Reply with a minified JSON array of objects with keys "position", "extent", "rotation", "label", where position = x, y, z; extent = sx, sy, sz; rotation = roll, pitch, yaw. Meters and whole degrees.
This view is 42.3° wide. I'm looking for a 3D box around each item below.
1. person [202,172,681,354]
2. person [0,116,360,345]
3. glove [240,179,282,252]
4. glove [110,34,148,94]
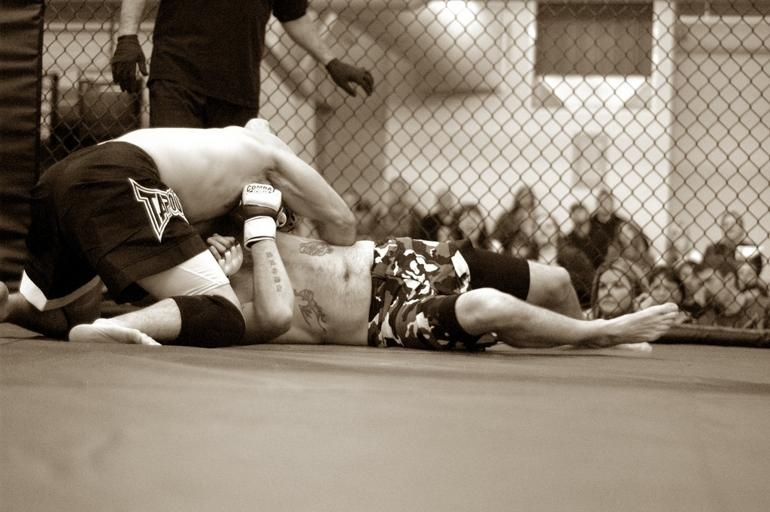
[{"position":[0.235,0.032,3.996],"extent":[1.490,0.544,0.779],"rotation":[0,-2,-5],"label":"person"},{"position":[-0.748,-0.103,3.885],"extent":[0.832,0.532,1.082],"rotation":[5,2,34],"label":"person"},{"position":[-0.477,-0.173,3.851],"extent":[0.180,0.229,0.108],"rotation":[6,0,5],"label":"glove"},{"position":[-1.082,-0.824,4.225],"extent":[0.141,0.242,0.207],"rotation":[2,9,-16],"label":"glove"}]
